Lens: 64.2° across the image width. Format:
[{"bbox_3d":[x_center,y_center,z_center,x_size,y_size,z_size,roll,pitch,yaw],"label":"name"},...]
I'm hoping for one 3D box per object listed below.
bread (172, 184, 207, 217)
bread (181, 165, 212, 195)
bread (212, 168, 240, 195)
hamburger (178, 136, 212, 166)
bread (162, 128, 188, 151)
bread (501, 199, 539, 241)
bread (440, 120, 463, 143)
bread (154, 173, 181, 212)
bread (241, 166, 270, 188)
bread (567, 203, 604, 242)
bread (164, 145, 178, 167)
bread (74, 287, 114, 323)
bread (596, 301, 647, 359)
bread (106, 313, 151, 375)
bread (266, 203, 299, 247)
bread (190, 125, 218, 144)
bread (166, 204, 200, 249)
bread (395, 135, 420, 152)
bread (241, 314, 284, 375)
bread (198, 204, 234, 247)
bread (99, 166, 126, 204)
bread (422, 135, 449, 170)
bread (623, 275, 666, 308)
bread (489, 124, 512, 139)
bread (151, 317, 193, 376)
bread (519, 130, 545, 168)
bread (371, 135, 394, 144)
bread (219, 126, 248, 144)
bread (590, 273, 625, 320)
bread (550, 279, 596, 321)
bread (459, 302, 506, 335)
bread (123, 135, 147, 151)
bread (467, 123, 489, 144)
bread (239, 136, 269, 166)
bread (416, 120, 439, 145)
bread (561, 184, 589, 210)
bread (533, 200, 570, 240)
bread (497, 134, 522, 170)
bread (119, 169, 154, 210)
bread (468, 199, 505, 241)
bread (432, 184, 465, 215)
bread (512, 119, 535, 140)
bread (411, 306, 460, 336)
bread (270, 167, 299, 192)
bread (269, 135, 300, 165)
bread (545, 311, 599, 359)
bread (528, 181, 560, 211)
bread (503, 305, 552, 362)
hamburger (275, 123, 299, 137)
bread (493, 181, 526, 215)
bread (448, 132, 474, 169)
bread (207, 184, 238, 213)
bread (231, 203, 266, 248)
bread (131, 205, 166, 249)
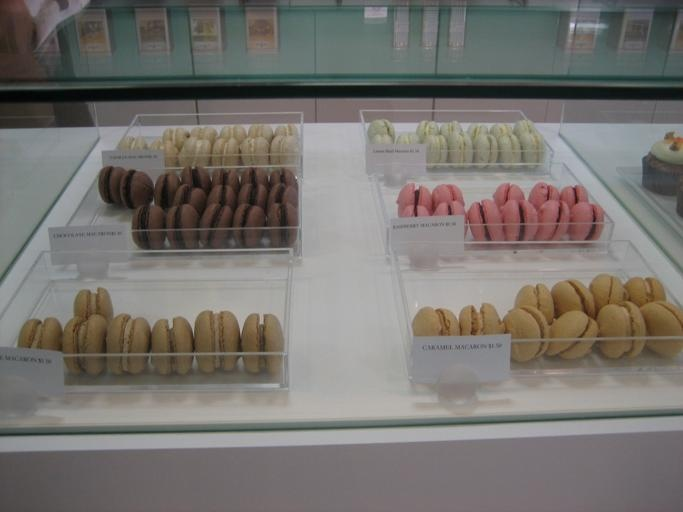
[{"bbox_3d":[-0.356,-0.139,1.278,0.056,0.030,0.083,4,62,-1],"label":"bread"},{"bbox_3d":[-0.355,-0.190,1.345,0.052,0.061,0.073,-6,0,2],"label":"bread"},{"bbox_3d":[-0.284,-0.194,1.343,0.050,0.030,0.074,-4,37,1],"label":"bread"},{"bbox_3d":[-0.395,-0.289,1.478,0.087,0.058,0.131,-7,29,-11],"label":"hamburger"},{"bbox_3d":[-0.471,-0.319,1.542,0.061,0.038,0.084,4,45,5],"label":"bread"},{"bbox_3d":[0.411,-0.079,1.233,0.066,0.101,0.048,-1,-4,-4],"label":"bread"},{"bbox_3d":[0.325,-0.368,1.568,0.053,0.040,0.074,-4,36,4],"label":"bread"},{"bbox_3d":[-0.420,-0.157,1.321,0.057,0.087,0.047,2,4,5],"label":"bread"},{"bbox_3d":[-0.214,-0.200,1.351,0.046,0.060,0.060,1,18,-3],"label":"bread"},{"bbox_3d":[0.566,-0.076,1.256,0.077,0.081,0.083,11,30,23],"label":"bread"},{"bbox_3d":[-0.455,-0.267,1.448,0.033,0.045,0.048,8,54,-37],"label":"bread"},{"bbox_3d":[-0.470,0.090,1.032,0.050,0.071,0.067,-1,16,-10],"label":"bread"},{"bbox_3d":[0.501,0.130,0.969,0.042,0.104,0.091,3,-16,3],"label":"bread"},{"bbox_3d":[-0.368,0.159,0.958,0.071,0.105,0.051,0,-14,1],"label":"bread"},{"bbox_3d":[-0.141,-0.090,1.272,0.084,0.044,0.120,-9,-23,-13],"label":"bread"},{"bbox_3d":[-0.388,-0.351,1.542,0.056,0.043,0.060,0,32,-9],"label":"bread"},{"bbox_3d":[-0.355,-0.067,1.219,0.069,0.100,0.046,3,-8,-20],"label":"bread"},{"bbox_3d":[0.180,-0.307,1.471,0.040,0.041,0.042,35,69,28],"label":"bread"},{"bbox_3d":[-0.148,0.148,0.995,0.087,0.044,0.107,-6,18,13],"label":"bread"},{"bbox_3d":[-0.277,-0.069,1.244,0.044,0.095,0.066,18,-10,-34],"label":"bread"},{"bbox_3d":[-0.561,-0.178,1.351,0.040,0.089,0.068,2,27,-16],"label":"bread"},{"bbox_3d":[0.260,-0.298,1.511,0.058,0.076,0.059,4,19,-34],"label":"bread"},{"bbox_3d":[0.588,0.067,1.047,0.050,0.038,0.066,-11,11,3],"label":"bread"},{"bbox_3d":[0.464,-0.370,1.582,0.042,0.024,0.053,23,35,38],"label":"bread"},{"bbox_3d":[-0.303,0.164,0.980,0.075,0.114,0.063,-6,5,-30],"label":"bread"},{"bbox_3d":[0.535,-0.308,1.531,0.069,0.076,0.114,3,28,9],"label":"bread"},{"bbox_3d":[0.114,-0.320,1.508,0.061,0.020,0.096,1,29,5],"label":"bread"},{"bbox_3d":[-0.308,-0.351,1.546,0.056,0.031,0.062,9,62,0],"label":"bread"},{"bbox_3d":[0.527,0.069,1.066,0.057,0.068,0.080,6,0,26],"label":"bread"},{"bbox_3d":[0.432,0.074,1.035,0.055,0.083,0.063,-20,4,-7],"label":"bread"},{"bbox_3d":[0.247,0.115,0.964,0.049,0.028,0.063,-3,17,11],"label":"bread"},{"bbox_3d":[-0.574,-0.315,1.508,0.058,0.026,0.062,11,39,13],"label":"bread"},{"bbox_3d":[0.396,-0.356,1.575,0.051,0.041,0.076,3,39,15],"label":"bread"},{"bbox_3d":[-0.232,-0.288,1.479,0.076,0.082,0.077,1,17,0],"label":"bread"},{"bbox_3d":[0.247,-0.362,1.596,0.064,0.089,0.069,2,7,-1],"label":"bread"},{"bbox_3d":[0.559,-0.144,1.305,0.045,0.051,0.066,2,16,8],"label":"bread"},{"bbox_3d":[0.478,-0.085,1.239,0.069,0.095,0.045,24,15,15],"label":"bread"},{"bbox_3d":[0.469,-0.299,1.546,0.052,0.108,0.105,-2,12,-3],"label":"bread"},{"bbox_3d":[-0.508,-0.165,1.352,0.085,0.092,0.062,-4,27,-4],"label":"bread"},{"bbox_3d":[0.333,-0.080,1.248,0.080,0.084,0.066,0,27,3],"label":"bread"},{"bbox_3d":[0.257,-0.137,1.299,0.064,0.093,0.044,2,-11,-12],"label":"bread"},{"bbox_3d":[0.527,-0.369,1.572,0.069,0.077,0.022,3,-23,12],"label":"bread"},{"bbox_3d":[0.170,0.119,0.972,0.084,0.036,0.059,3,28,9],"label":"bread"},{"bbox_3d":[-0.142,-0.202,1.367,0.050,0.038,0.074,-5,54,-12],"label":"bread"},{"bbox_3d":[-0.152,-0.280,1.479,0.075,0.083,0.078,-2,5,-42],"label":"bread"},{"bbox_3d":[0.411,0.141,0.964,0.072,0.099,0.057,22,46,-19],"label":"bread"},{"bbox_3d":[0.489,-0.151,1.312,0.056,0.081,0.066,9,27,15],"label":"bread"},{"bbox_3d":[0.329,0.135,0.958,0.075,0.100,0.046,14,-12,5],"label":"bread"},{"bbox_3d":[-0.159,-0.370,1.561,0.046,0.024,0.047,-16,34,-31],"label":"hamburger"},{"bbox_3d":[0.408,-0.142,1.326,0.056,0.055,0.067,1,-13,11],"label":"bread"},{"bbox_3d":[0.329,-0.314,1.520,0.065,0.100,0.072,4,6,-11],"label":"bread"},{"bbox_3d":[-0.279,-0.144,1.288,0.046,0.036,0.069,1,50,0],"label":"bread"},{"bbox_3d":[-0.206,-0.069,1.225,0.044,0.098,0.068,-1,-18,3],"label":"bread"},{"bbox_3d":[-0.425,-0.068,1.263,0.071,0.104,0.089,1,0,-6],"label":"bread"}]
